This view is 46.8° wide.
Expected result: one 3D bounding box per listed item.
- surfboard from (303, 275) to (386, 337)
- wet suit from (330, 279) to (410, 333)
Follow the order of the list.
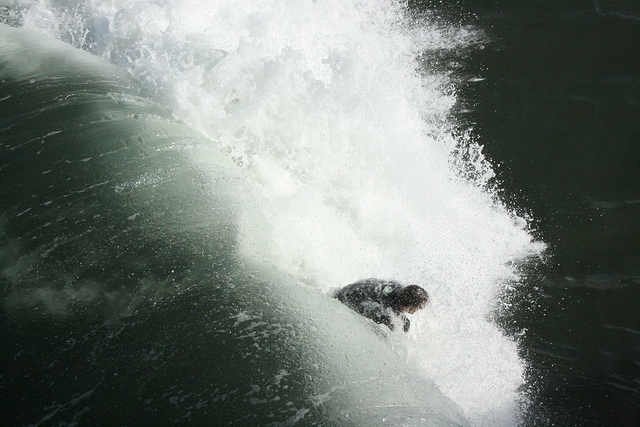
[{"bbox_3d":[0.778,3.020,23.590,1.762,0.397,0.963,35,13,10],"label":"surfboard"},{"bbox_3d":[1.688,2.877,24.551,2.033,0.893,1.580,27,-5,13],"label":"wet suit"}]
